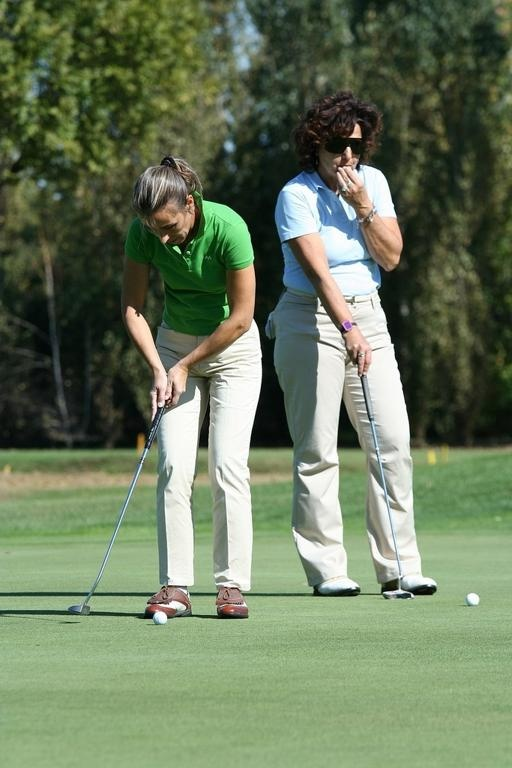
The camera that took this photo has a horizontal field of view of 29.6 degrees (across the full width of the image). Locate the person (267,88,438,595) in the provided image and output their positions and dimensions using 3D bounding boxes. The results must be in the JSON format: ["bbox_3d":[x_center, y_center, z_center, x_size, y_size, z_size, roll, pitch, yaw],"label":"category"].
[{"bbox_3d":[0.382,-0.141,3.804,0.611,1.983,0.596,-3,9,-8],"label":"person"}]

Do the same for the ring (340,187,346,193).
[{"bbox_3d":[0.331,-0.723,3.617,0.018,0.024,0.006,-11,45,29],"label":"ring"}]

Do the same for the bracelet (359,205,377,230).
[{"bbox_3d":[0.427,-0.632,3.686,0.071,0.031,0.062,-39,6,-16],"label":"bracelet"}]

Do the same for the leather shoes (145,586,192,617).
[{"bbox_3d":[-0.292,0.753,3.322,0.070,0.092,0.200,-2,-8,21],"label":"leather shoes"}]

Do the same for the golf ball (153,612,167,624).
[{"bbox_3d":[-0.308,0.755,3.112,0.029,0.029,0.033,37,-6,16],"label":"golf ball"}]

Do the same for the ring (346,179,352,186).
[{"bbox_3d":[0.349,-0.746,3.612,0.018,0.025,0.009,1,9,18],"label":"ring"}]

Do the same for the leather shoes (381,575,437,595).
[{"bbox_3d":[0.611,0.784,3.739,0.239,0.084,0.085,-7,-5,13],"label":"leather shoes"}]

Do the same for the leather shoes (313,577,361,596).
[{"bbox_3d":[0.326,0.780,3.722,0.143,0.054,0.073,-7,-5,23],"label":"leather shoes"}]

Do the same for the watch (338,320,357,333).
[{"bbox_3d":[0.340,-0.208,3.563,0.059,0.037,0.056,-25,-7,1],"label":"watch"}]

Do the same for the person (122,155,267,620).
[{"bbox_3d":[-0.200,0.049,3.419,0.503,1.675,0.654,-3,9,-7],"label":"person"}]
